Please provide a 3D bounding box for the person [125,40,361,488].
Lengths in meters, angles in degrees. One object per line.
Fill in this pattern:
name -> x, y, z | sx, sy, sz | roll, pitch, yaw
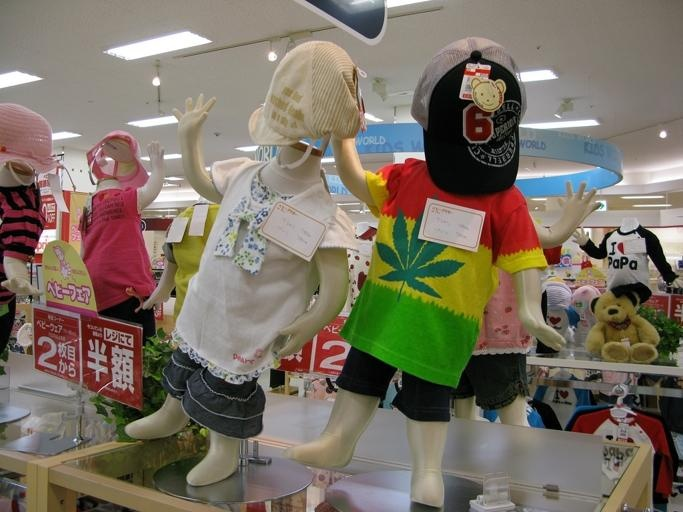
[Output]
person -> -0.256, 0.019, 1.613 | 0.632, 1.363, 0.273 | 1, 4, 4

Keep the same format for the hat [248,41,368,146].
hat -> -0.100, -0.501, 1.553 | 0.332, 0.222, 0.259 | -7, 22, -12

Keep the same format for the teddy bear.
teddy bear -> 1.854, 0.451, 3.540 | 0.462, 0.623, 0.472 | -3, -10, 23

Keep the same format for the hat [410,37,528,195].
hat -> 0.410, -0.406, 1.659 | 0.308, 0.492, 0.262 | -2, -7, 4

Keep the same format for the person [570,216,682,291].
person -> 2.858, -0.011, 5.011 | 0.277, 0.694, 0.909 | 19, -18, -31
